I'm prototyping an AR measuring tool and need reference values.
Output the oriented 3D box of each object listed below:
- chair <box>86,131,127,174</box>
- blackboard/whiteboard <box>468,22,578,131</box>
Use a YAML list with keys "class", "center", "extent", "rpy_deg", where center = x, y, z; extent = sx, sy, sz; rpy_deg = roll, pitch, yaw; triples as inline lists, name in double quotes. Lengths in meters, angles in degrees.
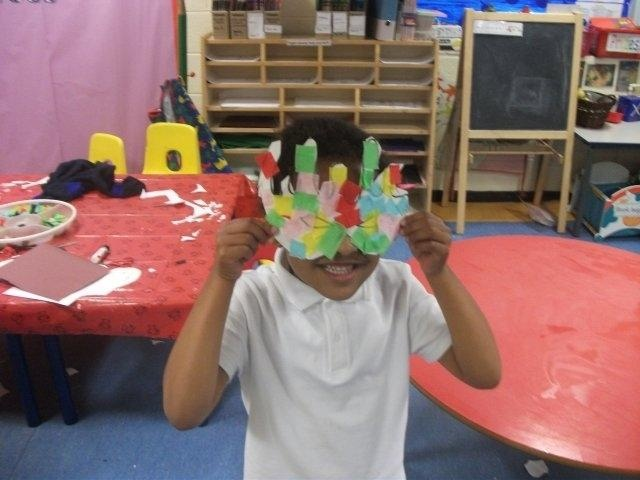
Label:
- class: "chair"
  center: [-1.283, -0.512, 2.829]
  extent: [0.192, 0.212, 0.373]
  rpy_deg: [-8, 24, -28]
- class: "blackboard/whiteboard"
  center: [1.476, -1.228, 3.425]
  extent: [0.776, 0.771, 0.084]
  rpy_deg: [0, 16, -2]
